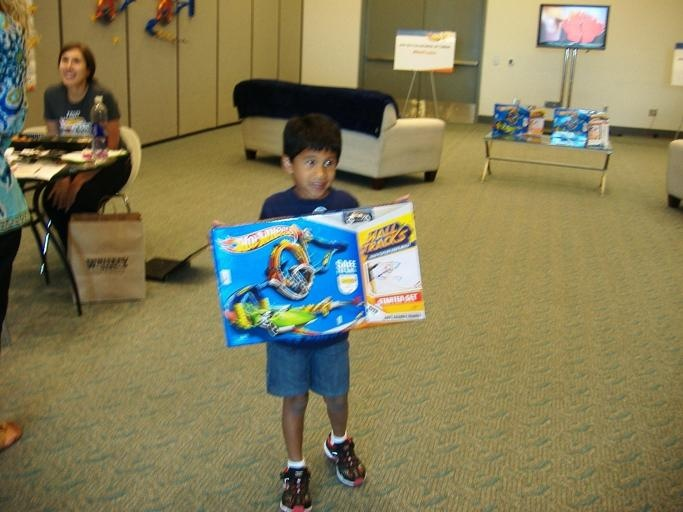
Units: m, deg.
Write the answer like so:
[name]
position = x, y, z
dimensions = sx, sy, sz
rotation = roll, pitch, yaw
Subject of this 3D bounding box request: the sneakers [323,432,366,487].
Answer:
[sneakers]
position = 0.006, 0.710, 1.761
dimensions = 0.097, 0.099, 0.216
rotation = -20, 54, -28

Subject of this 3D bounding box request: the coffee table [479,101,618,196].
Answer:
[coffee table]
position = 2.734, -1.469, 6.277
dimensions = 1.451, 0.975, 2.085
rotation = 11, 20, 28
